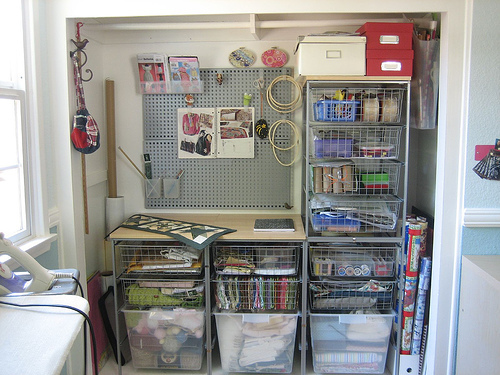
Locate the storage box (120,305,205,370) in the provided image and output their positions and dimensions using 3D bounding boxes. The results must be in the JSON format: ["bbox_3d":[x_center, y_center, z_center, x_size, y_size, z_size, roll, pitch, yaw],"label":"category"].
[{"bbox_3d":[-0.618,1.091,3.205,0.713,0.536,0.425,0,0,1],"label":"storage box"}]

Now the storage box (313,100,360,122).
[{"bbox_3d":[0.585,-0.521,3.006,0.224,0.107,0.161,-1,10,-2],"label":"storage box"}]

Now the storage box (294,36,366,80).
[{"bbox_3d":[0.544,-0.870,2.962,0.441,0.276,0.128,-1,10,1],"label":"storage box"}]

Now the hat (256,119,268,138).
[{"bbox_3d":[0.089,-0.454,3.476,0.091,0.143,0.036,2,2,5],"label":"hat"}]

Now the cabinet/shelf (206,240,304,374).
[{"bbox_3d":[0.041,0.869,3.536,0.843,1.383,0.829,0,0,1],"label":"cabinet/shelf"}]

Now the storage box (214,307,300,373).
[{"bbox_3d":[0.049,1.067,3.227,0.469,0.327,0.493,0,-6,2],"label":"storage box"}]

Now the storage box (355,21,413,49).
[{"bbox_3d":[0.920,-1.005,2.933,0.207,0.108,0.214,2,7,6],"label":"storage box"}]

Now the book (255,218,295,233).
[{"bbox_3d":[0.178,0.269,3.258,0.291,0.034,0.355,-1,11,4],"label":"book"}]

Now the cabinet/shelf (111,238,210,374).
[{"bbox_3d":[-0.747,0.850,3.854,0.827,1.509,0.902,0,1,-1],"label":"cabinet/shelf"}]

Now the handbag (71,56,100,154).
[{"bbox_3d":[-1.150,-0.555,3.027,0.184,0.658,0.124,-6,11,-27],"label":"handbag"}]
